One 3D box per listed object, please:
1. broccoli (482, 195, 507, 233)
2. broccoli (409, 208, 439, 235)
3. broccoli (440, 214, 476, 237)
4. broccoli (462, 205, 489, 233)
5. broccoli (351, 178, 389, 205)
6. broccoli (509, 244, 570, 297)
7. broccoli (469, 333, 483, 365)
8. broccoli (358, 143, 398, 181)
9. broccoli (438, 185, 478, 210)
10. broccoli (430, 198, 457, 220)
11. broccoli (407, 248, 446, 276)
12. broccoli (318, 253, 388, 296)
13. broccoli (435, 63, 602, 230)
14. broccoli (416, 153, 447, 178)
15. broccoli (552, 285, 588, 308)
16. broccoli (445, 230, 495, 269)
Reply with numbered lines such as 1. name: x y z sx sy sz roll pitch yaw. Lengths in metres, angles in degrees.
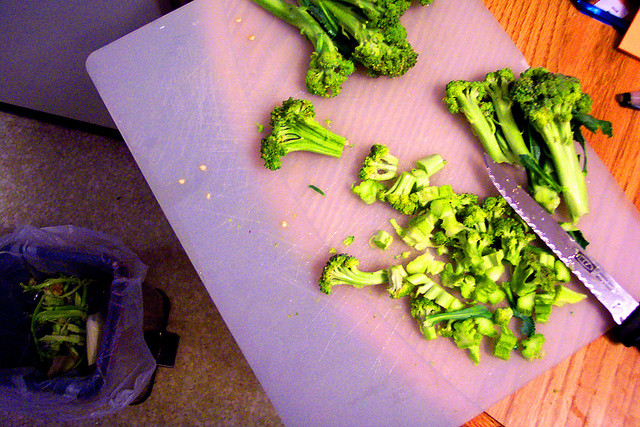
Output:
1. broccoli: 0.717 0.008 2.079 0.087 0.118 0.094 14 58 29
2. broccoli: 0.433 0.039 2.090 0.098 0.039 0.099 44 94 15
3. broccoli: 0.550 0.050 2.059 0.106 0.084 0.040 20 16 6
4. broccoli: 0.639 0.019 2.118 0.094 0.096 0.099 22 41 -4
5. broccoli: 0.224 -0.103 2.182 0.180 0.262 0.088 13 88 -1
6. broccoli: 0.917 0.238 2.085 0.164 0.185 0.183 -18 62 5
7. broccoli: 0.644 0.558 2.092 0.048 0.136 0.035 12 19 10
8. broccoli: 0.267 -0.219 2.132 0.148 0.142 0.062 39 71 -10
9. broccoli: 0.574 -0.075 2.102 0.108 0.039 0.110 -4 45 -38
10. broccoli: 0.501 -0.019 2.064 0.085 0.034 0.088 1 82 0
11. broccoli: 0.447 0.223 2.133 0.171 0.087 0.071 -6 56 -15
12. broccoli: 0.144 0.261 2.099 0.245 0.135 0.166 9 61 3
13. broccoli: 0.859 -0.323 2.070 0.715 0.565 0.343 58 34 -13
14. broccoli: 0.465 -0.210 2.137 0.104 0.055 0.076 -27 64 -27
15. broccoli: 1.031 0.336 2.094 0.103 0.037 0.108 -19 103 1
16. broccoli: 0.601 0.129 2.126 0.201 0.176 0.100 -39 106 -21
